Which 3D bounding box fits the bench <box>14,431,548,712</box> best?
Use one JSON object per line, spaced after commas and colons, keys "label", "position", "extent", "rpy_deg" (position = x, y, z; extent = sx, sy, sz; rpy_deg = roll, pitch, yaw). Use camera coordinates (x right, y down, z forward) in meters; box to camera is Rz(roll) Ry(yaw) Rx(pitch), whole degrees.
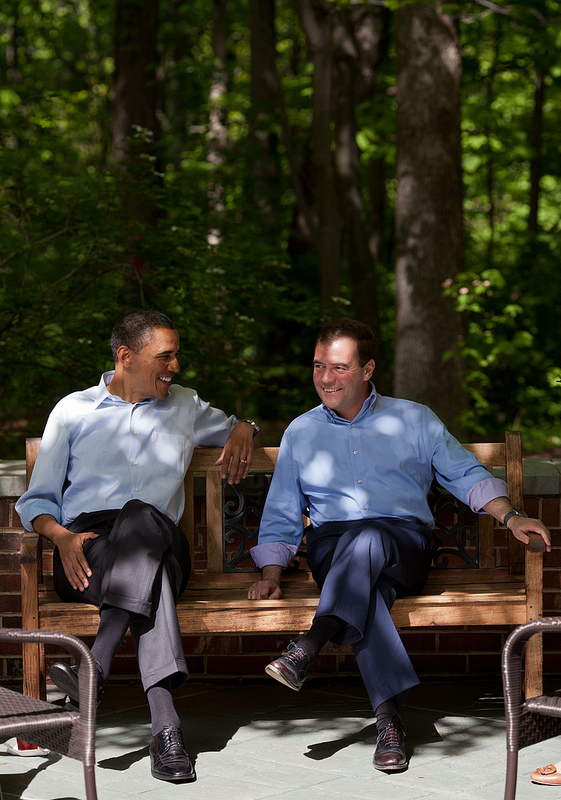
{"label": "bench", "position": [0.039, 0.587, 3.059], "extent": [1.831, 0.915, 0.713], "rpy_deg": [-1, -7, -4]}

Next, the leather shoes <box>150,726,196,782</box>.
{"label": "leather shoes", "position": [-0.297, 0.986, 2.322], "extent": [0.088, 0.072, 0.187], "rpy_deg": [2, -2, -15]}

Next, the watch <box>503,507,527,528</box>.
{"label": "watch", "position": [0.748, 0.378, 2.708], "extent": [0.074, 0.040, 0.070], "rpy_deg": [-29, -16, -1]}

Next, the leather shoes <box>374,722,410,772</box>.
{"label": "leather shoes", "position": [0.319, 0.993, 2.410], "extent": [0.098, 0.118, 0.192], "rpy_deg": [-2, -7, 7]}

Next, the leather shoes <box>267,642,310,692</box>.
{"label": "leather shoes", "position": [0.046, 0.768, 2.395], "extent": [0.079, 0.081, 0.192], "rpy_deg": [35, 0, 14]}
